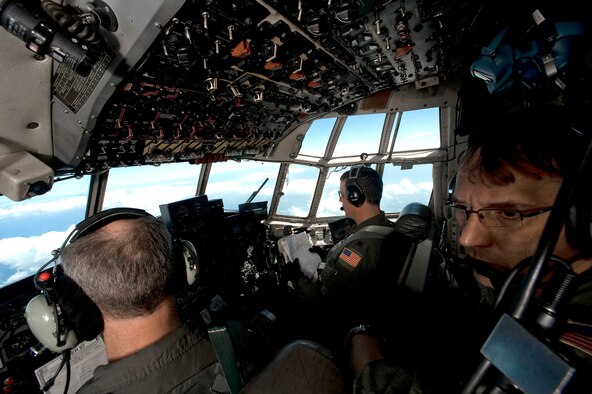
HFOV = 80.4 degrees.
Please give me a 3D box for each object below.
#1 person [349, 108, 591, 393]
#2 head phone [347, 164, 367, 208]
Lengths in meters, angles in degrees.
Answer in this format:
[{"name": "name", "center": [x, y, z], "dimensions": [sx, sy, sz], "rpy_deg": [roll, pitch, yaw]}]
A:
[{"name": "person", "center": [1.051, 0.272, 2.008], "dimensions": [1.092, 1.757, 0.769], "rpy_deg": [3, 0, 13]}, {"name": "head phone", "center": [0.628, -0.096, 3.570], "dimensions": [0.147, 0.318, 0.379], "rpy_deg": [-16, -26, 24]}]
